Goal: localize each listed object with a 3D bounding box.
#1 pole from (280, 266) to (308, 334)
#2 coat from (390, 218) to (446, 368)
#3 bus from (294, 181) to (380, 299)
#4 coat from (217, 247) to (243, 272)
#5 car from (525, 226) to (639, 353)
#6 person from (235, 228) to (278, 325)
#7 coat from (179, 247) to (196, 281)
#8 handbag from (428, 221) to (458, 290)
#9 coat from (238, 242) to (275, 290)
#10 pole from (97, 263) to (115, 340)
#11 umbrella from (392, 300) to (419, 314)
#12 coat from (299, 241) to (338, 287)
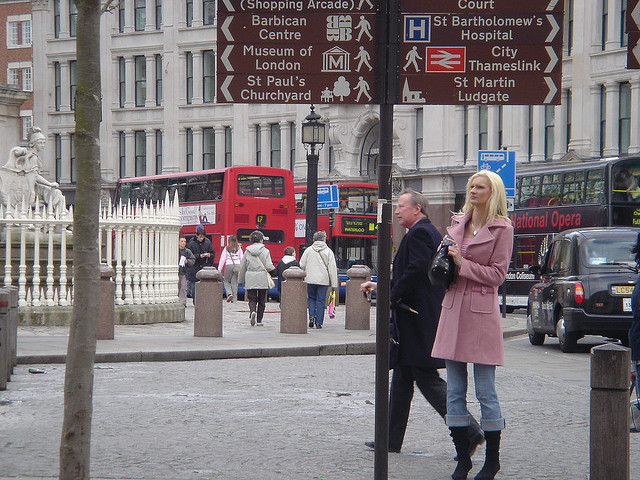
[{"bbox_3d":[-0.470,1.043,26.304,0.458,1.133,0.456,-1,2,-2],"label":"pole"},{"bbox_3d":[1.096,0.669,17.042,0.741,1.912,0.856,3,5,-13],"label":"coat"},{"bbox_3d":[0.266,-0.128,43.899,1.714,3.157,5.874,2,1,-18],"label":"bus"},{"bbox_3d":[-2.029,0.434,34.083,0.548,0.529,0.184,-4,21,-15],"label":"coat"},{"bbox_3d":[4.382,0.796,24.979,1.597,2.256,2.100,-2,-3,11],"label":"car"},{"bbox_3d":[-1.067,0.664,28.426,0.871,1.740,0.636,1,2,-24],"label":"person"},{"bbox_3d":[-3.015,0.538,34.144,0.371,0.694,0.955,-1,2,-5],"label":"coat"},{"bbox_3d":[1.326,0.129,16.085,0.294,0.647,0.648,6,28,11],"label":"handbag"},{"bbox_3d":[-1.220,0.516,28.386,0.493,0.968,0.446,0,1,-19],"label":"coat"},{"bbox_3d":[-3.438,0.979,24.093,0.261,1.172,0.666,-1,2,-8],"label":"pole"},{"bbox_3d":[0.930,0.722,16.788,0.326,0.092,0.087,15,10,13],"label":"umbrella"},{"bbox_3d":[-0.017,0.445,27.988,0.468,0.947,0.394,-1,0,-19],"label":"coat"}]
